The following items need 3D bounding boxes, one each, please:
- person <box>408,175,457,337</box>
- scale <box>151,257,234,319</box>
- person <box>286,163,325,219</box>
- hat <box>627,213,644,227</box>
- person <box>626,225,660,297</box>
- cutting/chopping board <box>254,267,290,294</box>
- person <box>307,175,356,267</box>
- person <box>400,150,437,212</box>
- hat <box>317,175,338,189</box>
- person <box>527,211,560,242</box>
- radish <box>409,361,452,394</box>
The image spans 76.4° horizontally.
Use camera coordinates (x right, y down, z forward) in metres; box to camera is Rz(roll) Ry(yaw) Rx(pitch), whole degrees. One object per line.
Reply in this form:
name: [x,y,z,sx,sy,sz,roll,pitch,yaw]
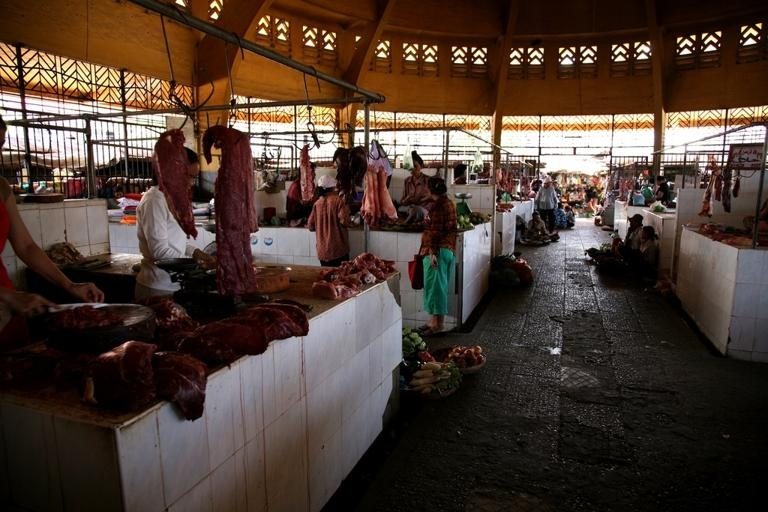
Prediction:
person: [0.671,-0.084,6.233,0.442,1.752,0.383,-13,18,-38]
scale: [-1.409,0.240,3.620,0.546,0.411,0.288,1,1,-10]
person: [-1.250,-0.989,7.742,0.600,0.981,0.552,-4,-11,15]
hat: [5.232,-0.714,10.110,0.341,0.159,0.393,1,-2,25]
person: [4.944,-0.045,9.290,0.561,0.955,1.505,6,17,25]
cutting/chopping board: [-0.926,0.196,4.085,0.215,0.084,0.222,1,8,8]
person: [-0.718,-0.463,6.709,0.440,1.200,0.685,-12,18,-36]
person: [0.513,-1.120,7.722,0.509,1.007,0.638,-4,22,1]
hat: [-0.750,-1.020,6.834,0.278,0.125,0.275,8,45,21]
person: [4.484,-0.795,14.109,0.787,1.061,1.101,5,-1,-24]
radish: [0.475,1.253,5.010,0.283,0.104,0.297,-24,29,8]
